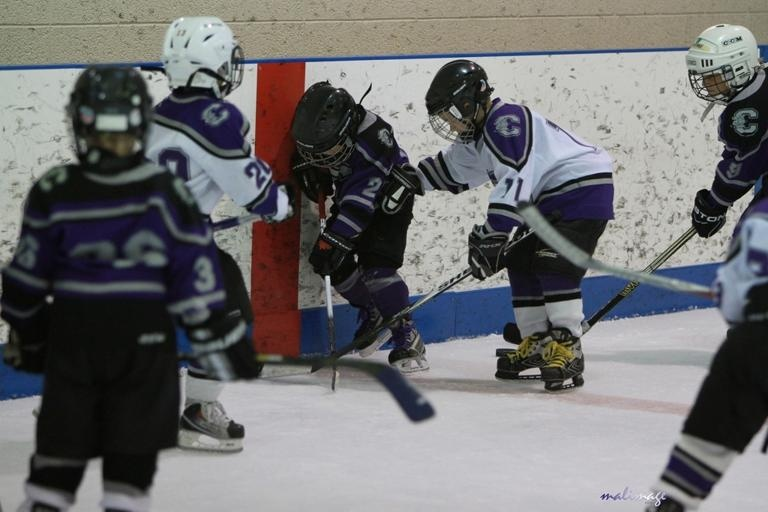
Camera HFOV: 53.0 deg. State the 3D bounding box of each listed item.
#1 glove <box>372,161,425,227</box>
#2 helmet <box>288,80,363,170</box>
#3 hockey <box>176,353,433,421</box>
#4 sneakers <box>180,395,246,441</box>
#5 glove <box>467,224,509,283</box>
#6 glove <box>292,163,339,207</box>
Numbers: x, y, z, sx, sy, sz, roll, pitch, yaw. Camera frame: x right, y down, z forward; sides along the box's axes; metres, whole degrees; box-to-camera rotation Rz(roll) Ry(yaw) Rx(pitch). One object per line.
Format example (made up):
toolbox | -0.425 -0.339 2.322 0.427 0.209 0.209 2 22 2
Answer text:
glove | 0.120 -0.289 3.846 0.199 0.242 0.252 33 -18 27
helmet | -0.246 -0.602 3.702 0.327 0.379 0.318 17 -1 22
hockey | -0.268 0.393 2.351 0.957 0.202 0.012 -2 21 31
sneakers | -0.676 0.650 3.080 0.309 0.133 0.112 6 10 -4
glove | 0.451 -0.032 3.700 0.253 0.317 0.261 4 14 5
glove | -0.374 -0.383 3.920 0.221 0.186 0.168 25 11 -18
